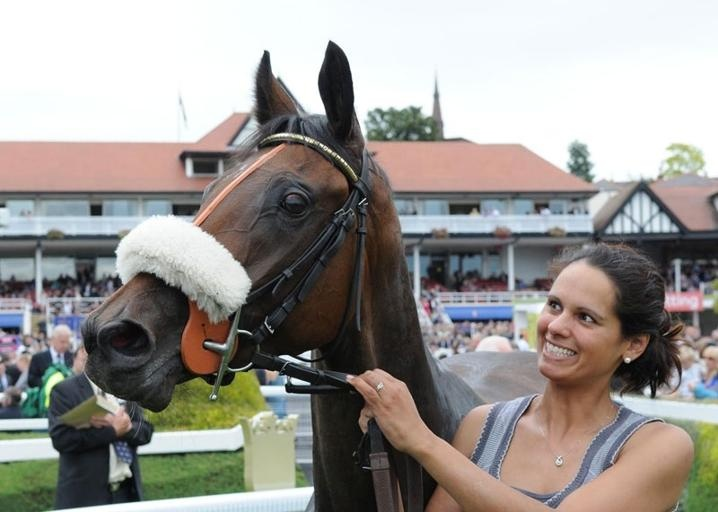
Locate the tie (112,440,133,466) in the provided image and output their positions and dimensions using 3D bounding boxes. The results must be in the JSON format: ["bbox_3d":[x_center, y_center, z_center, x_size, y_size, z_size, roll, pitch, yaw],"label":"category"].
[{"bbox_3d":[-2.289,1.888,12.627,0.052,0.238,0.149,-29,-7,34],"label":"tie"}]

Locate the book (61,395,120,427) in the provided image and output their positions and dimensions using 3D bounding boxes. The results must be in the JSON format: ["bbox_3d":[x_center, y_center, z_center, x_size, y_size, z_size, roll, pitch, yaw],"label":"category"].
[{"bbox_3d":[-2.549,1.498,12.416,0.357,0.088,0.363,-26,-31,17],"label":"book"}]

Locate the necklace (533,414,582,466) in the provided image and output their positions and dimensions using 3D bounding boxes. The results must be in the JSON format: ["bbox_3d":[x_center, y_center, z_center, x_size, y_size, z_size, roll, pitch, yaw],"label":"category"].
[{"bbox_3d":[1.638,1.524,10.709,0.146,0.615,0.053,-28,-20,20],"label":"necklace"}]

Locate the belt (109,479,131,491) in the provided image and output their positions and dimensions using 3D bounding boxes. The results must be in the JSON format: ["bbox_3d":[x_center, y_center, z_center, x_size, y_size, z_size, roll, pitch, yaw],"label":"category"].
[{"bbox_3d":[-2.326,2.228,12.639,0.100,0.098,0.097,4,9,-27],"label":"belt"}]
